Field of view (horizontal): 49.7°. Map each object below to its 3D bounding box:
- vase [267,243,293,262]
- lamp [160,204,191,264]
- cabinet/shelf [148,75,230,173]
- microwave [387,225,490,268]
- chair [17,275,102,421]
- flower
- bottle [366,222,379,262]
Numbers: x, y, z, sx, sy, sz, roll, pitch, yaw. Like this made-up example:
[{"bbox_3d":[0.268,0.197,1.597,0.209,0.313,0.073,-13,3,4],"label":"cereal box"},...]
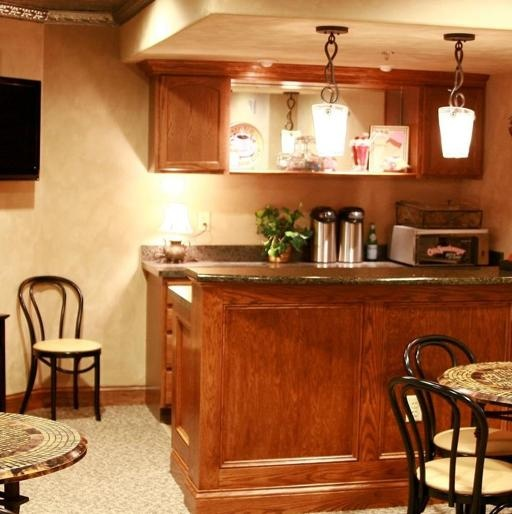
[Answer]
[{"bbox_3d":[0.195,-0.042,4.473,0.144,0.127,0.139,1,5,-3],"label":"vase"},{"bbox_3d":[-0.622,-0.189,4.296,0.251,0.449,0.298,-1,2,-9],"label":"lamp"},{"bbox_3d":[-0.426,-1.003,4.267,0.587,0.774,0.440,3,7,8],"label":"cabinet/shelf"},{"bbox_3d":[1.459,-0.100,4.462,0.774,0.327,0.361,0,2,18],"label":"microwave"},{"bbox_3d":[-1.402,0.653,3.996,0.591,1.045,0.685,-2,2,-23],"label":"chair"},{"bbox_3d":[0.198,-0.229,4.439,0.446,0.295,0.423,0,0,-34],"label":"flower"},{"bbox_3d":[1.003,-0.133,4.739,0.105,0.309,0.159,0,2,12],"label":"bottle"}]
